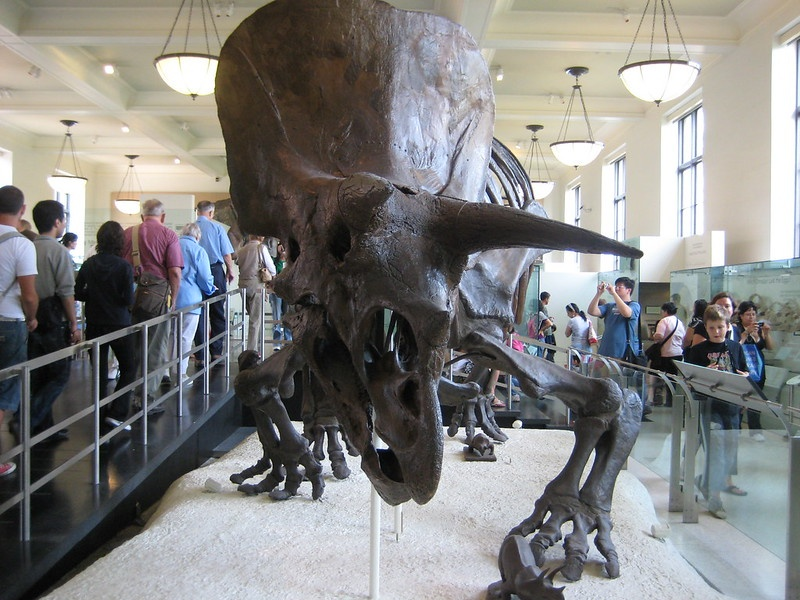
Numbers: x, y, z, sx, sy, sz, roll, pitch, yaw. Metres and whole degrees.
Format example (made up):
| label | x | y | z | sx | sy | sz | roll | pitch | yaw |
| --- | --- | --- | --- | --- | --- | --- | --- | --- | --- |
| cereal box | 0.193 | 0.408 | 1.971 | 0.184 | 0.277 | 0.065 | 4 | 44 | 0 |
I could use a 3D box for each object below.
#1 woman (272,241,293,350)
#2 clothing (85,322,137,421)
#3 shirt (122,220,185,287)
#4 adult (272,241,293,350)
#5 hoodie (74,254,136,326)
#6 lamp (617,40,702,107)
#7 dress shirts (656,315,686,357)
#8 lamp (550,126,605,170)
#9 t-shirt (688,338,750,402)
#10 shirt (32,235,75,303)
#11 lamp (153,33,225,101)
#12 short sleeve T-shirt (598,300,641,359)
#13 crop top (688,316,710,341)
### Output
| label | x | y | z | sx | sy | sz | roll | pitch | yaw |
| --- | --- | --- | --- | --- | --- | --- | --- | --- | --- |
| woman | -1.704 | 0.031 | 8.658 | 0.334 | 1.183 | 0.295 | -3 | 14 | -20 |
| clothing | -2.587 | 0.528 | 5.515 | 0.399 | 1.216 | 0.350 | 0 | 14 | -35 |
| shirt | -2.562 | -0.497 | 6.269 | 0.635 | 0.654 | 0.359 | 6 | -1 | -3 |
| adult | -1.689 | -0.070 | 8.592 | 0.331 | 1.355 | 0.370 | -3 | -2 | 38 |
| hoodie | -2.727 | -0.101 | 5.682 | 0.483 | 0.657 | 0.427 | 1 | 8 | -18 |
| lamp | 3.621 | -2.998 | 8.624 | 1.177 | 0.525 | 1.236 | 8 | 14 | 22 |
| dress shirts | 3.168 | 0.434 | 7.204 | 0.408 | 0.490 | 0.263 | -2 | -9 | 7 |
| lamp | 3.194 | -2.748 | 11.529 | 1.129 | 0.572 | 1.111 | -1 | 1 | -42 |
| t-shirt | 2.946 | 0.637 | 5.695 | 0.435 | 0.238 | 0.450 | 1 | 9 | 21 |
| shirt | -2.928 | -0.242 | 5.165 | 0.198 | 0.498 | 0.526 | -3 | 11 | -26 |
| lamp | -2.811 | -3.066 | 8.129 | 0.927 | 0.776 | 0.915 | -9 | 10 | -17 |
| short sleeve T-shirt | 2.695 | 0.363 | 7.738 | 0.432 | 0.736 | 0.568 | 7 | -3 | -34 |
| crop top | 3.049 | 0.286 | 6.281 | 0.158 | 0.290 | 0.228 | 5 | -6 | -11 |
